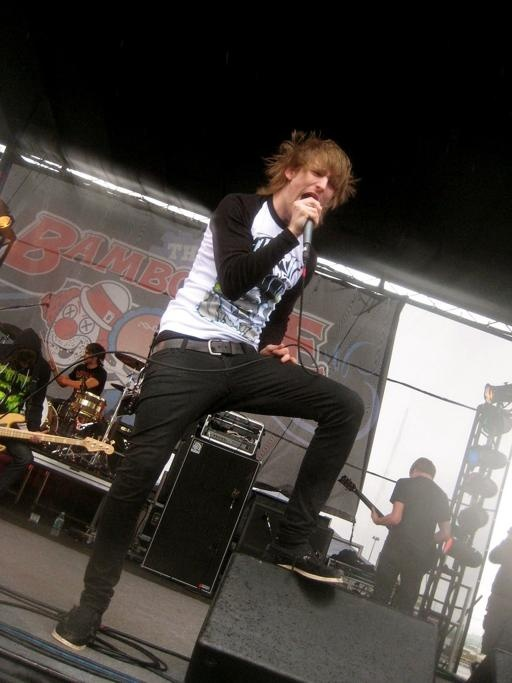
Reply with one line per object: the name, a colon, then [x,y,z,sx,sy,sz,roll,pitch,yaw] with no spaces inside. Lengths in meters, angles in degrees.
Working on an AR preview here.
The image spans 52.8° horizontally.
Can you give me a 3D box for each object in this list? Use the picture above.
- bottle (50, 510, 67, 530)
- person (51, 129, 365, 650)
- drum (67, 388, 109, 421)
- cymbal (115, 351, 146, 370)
bottle: [-1.483,1.338,3.852,0.062,0.197,0.053,33,19,6]
person: [-0.050,0.044,1.617,0.759,1.534,0.821,10,7,-7]
drum: [-1.489,0.582,4.606,0.292,0.197,0.279,16,-11,3]
cymbal: [-1.052,0.171,4.259,0.226,0.059,0.228,6,-28,39]
